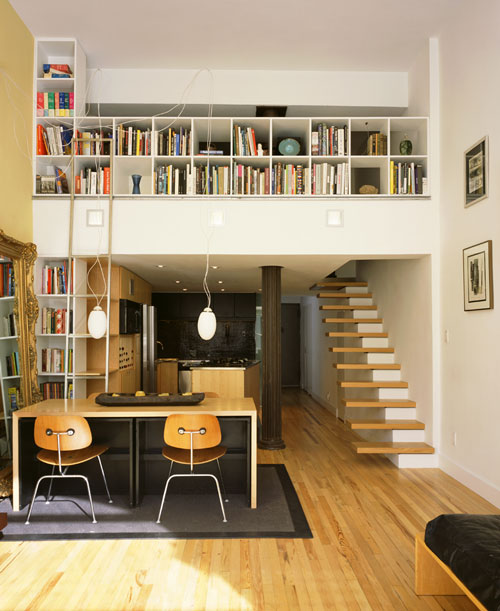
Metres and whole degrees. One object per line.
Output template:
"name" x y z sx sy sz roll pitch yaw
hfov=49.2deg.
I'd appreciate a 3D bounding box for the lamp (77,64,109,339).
"lamp" -1.571 -1.044 5.435 0.393 2.822 1.274 0 -1 -16
